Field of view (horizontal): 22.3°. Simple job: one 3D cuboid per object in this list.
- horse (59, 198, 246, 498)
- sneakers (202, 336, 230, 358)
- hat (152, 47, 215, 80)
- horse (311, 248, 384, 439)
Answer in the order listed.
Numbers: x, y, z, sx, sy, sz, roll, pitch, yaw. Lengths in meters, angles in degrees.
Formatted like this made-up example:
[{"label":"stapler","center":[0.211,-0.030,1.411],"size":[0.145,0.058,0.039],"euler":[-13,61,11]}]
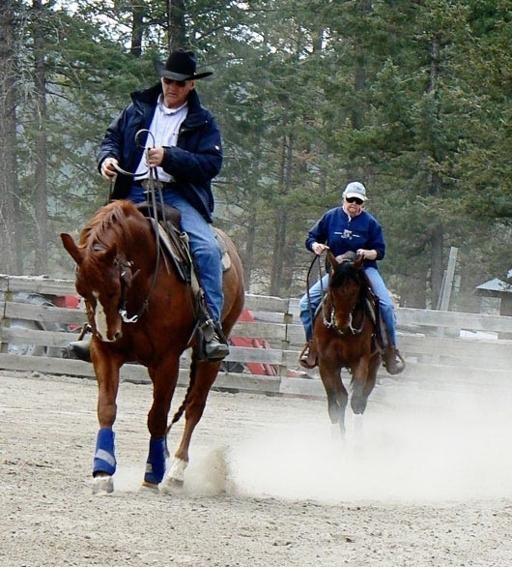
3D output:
[{"label":"horse","center":[-1.321,0.730,14.951],"size":[0.971,3.259,1.984],"euler":[14,13,40]},{"label":"sneakers","center":[-0.464,0.769,15.324],"size":[0.195,0.251,0.318],"euler":[-7,-17,18]},{"label":"hat","center":[-0.951,-2.626,15.512],"size":[0.434,0.201,0.518],"euler":[0,17,-30]},{"label":"horse","center":[1.266,0.782,17.545],"size":[0.951,2.348,0.903],"euler":[6,10,0]}]
